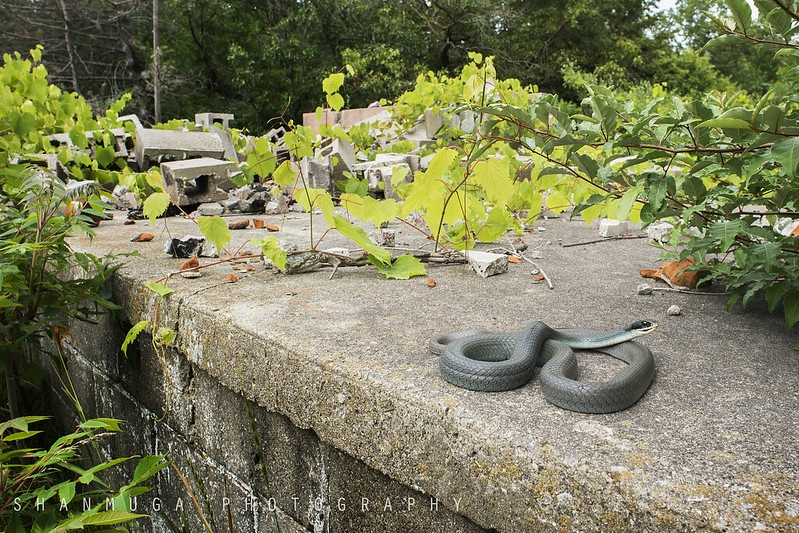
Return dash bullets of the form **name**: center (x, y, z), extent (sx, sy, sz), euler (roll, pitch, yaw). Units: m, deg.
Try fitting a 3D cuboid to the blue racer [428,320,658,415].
- **blue racer**: center (0.580, 0.376, 2.481), extent (0.506, 0.144, 0.496), euler (-2, 8, 3)
